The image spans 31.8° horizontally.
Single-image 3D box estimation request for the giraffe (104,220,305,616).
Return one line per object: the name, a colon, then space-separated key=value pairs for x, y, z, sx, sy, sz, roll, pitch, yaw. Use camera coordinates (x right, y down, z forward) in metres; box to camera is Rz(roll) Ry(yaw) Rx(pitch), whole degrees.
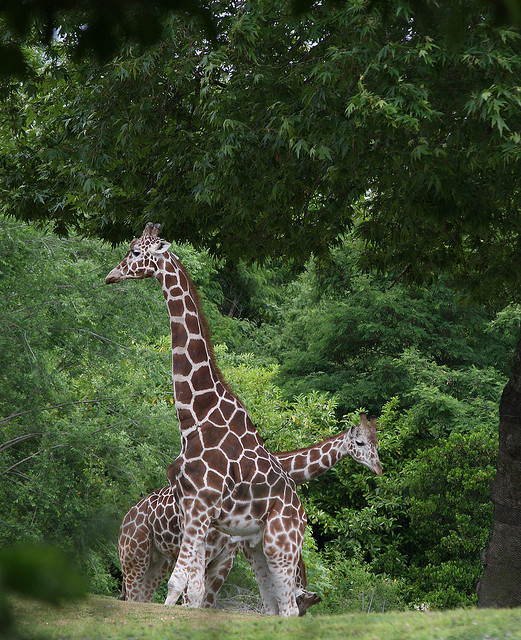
giraffe: x=-0.274 y=0.514 z=5.170 sx=1.235 sy=1.819 sz=0.747 roll=8 pitch=-3 yaw=5
